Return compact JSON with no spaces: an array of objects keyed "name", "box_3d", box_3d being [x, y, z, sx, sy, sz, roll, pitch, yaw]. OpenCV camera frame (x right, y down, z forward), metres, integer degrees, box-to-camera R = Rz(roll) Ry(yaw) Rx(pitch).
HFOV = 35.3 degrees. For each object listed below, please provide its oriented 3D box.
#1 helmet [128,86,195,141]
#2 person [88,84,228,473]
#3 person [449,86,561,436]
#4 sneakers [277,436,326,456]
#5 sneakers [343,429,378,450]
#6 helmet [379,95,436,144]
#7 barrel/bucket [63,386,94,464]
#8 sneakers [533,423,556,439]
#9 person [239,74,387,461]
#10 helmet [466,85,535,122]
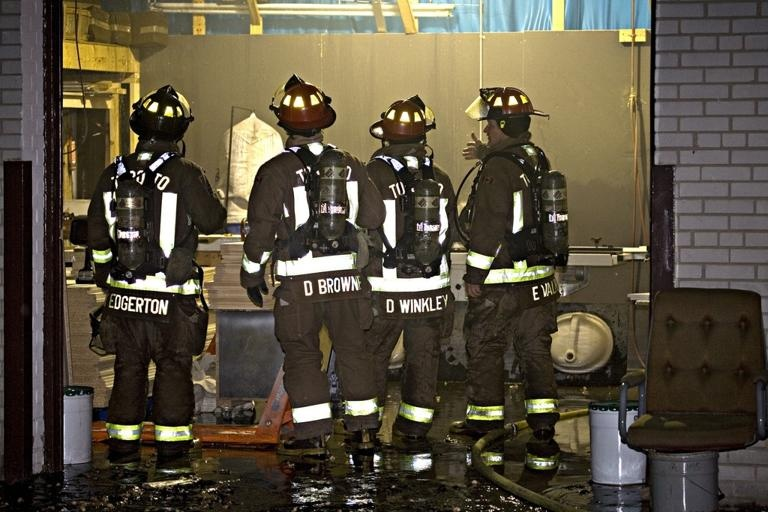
[{"name":"helmet","box_3d":[-1.677,-1.047,9.006,0.401,0.378,0.443,19,49,3]},{"name":"person","box_3d":[-1.637,0.108,8.782,0.813,2.713,0.559,0,4,-8]},{"name":"person","box_3d":[0.968,0.034,9.274,0.830,2.677,0.462,0,4,3]},{"name":"sneakers","box_3d":[-0.595,1.392,8.700,0.239,0.089,0.167,-2,1,25]},{"name":"sneakers","box_3d":[-0.196,1.346,8.896,0.252,0.231,0.150,0,5,7]},{"name":"helmet","box_3d":[0.186,-1.073,9.263,0.441,0.296,0.330,10,27,15]},{"name":"barrel/bucket","box_3d":[-2.192,1.211,8.605,0.192,0.539,0.165,-1,4,-12]},{"name":"sneakers","box_3d":[1.222,1.340,9.157,0.111,0.084,0.139,5,-6,-30]},{"name":"person","box_3d":[-0.516,0.091,8.692,1.013,2.711,0.505,0,4,-1]},{"name":"helmet","box_3d":[0.913,-1.202,9.423,0.444,0.175,0.278,2,8,8]}]
